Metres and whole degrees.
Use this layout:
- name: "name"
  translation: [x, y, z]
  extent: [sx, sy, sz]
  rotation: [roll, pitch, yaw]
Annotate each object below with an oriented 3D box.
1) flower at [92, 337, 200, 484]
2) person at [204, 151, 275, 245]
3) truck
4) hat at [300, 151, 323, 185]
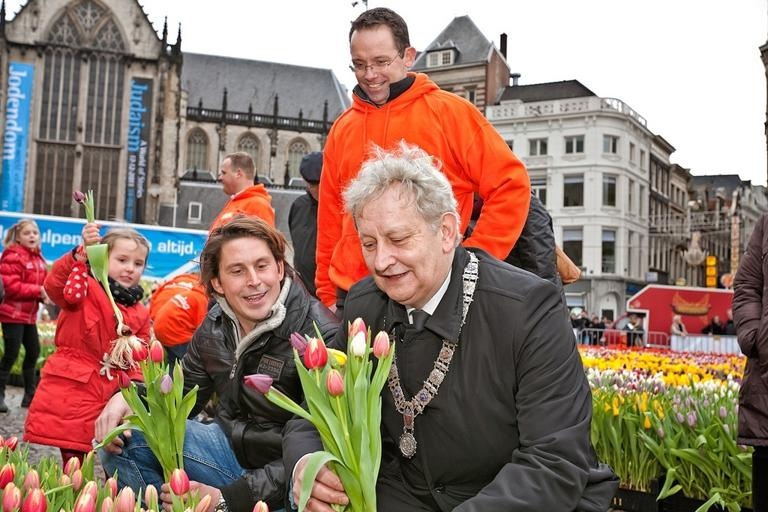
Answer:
- name: "flower"
  translation: [-1.835, 1.244, 7.756]
  extent: [0.682, 1.138, 0.387]
  rotation: [4, -5, 1]
- name: "person"
  translation: [-1.703, -0.548, 11.329]
  extent: [0.714, 1.288, 1.257]
  rotation: [2, 3, -30]
- name: "truck"
  translation: [9.938, 1.747, 34.672]
  extent: [4.612, 2.694, 2.395]
  rotation: [-8, 24, -6]
- name: "hat"
  translation: [-0.822, -0.960, 10.880]
  extent: [0.280, 0.209, 0.391]
  rotation: [1, 35, 3]
